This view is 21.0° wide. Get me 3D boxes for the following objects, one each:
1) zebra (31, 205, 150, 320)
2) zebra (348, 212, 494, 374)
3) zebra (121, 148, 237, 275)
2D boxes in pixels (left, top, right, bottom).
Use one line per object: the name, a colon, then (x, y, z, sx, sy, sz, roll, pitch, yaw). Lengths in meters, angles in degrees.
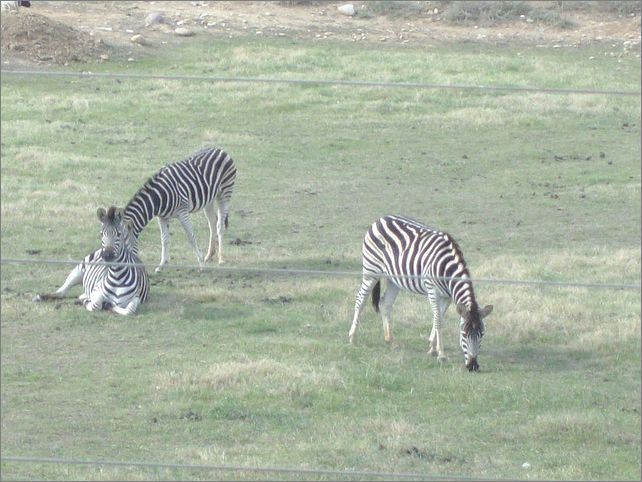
zebra: (-4.664, 0.383, 39.045, 1.489, 2.364, 1.442, -5, 12, -39)
zebra: (2.123, 1.090, 37.982, 2.902, 3.100, 1.087, 8, 11, 29)
zebra: (-3.120, -0.734, 40.707, 1.206, 2.778, 3.031, 10, 12, 38)
